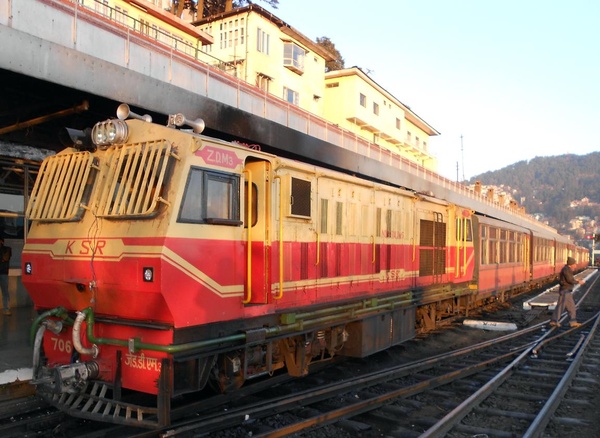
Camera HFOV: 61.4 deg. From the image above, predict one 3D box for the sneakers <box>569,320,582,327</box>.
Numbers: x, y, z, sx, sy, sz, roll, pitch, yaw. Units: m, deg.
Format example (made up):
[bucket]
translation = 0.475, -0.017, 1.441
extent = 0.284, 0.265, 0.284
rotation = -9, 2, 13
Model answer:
[sneakers]
translation = 9.830, 3.730, 17.948
extent = 0.456, 0.223, 0.147
rotation = -2, 2, -43

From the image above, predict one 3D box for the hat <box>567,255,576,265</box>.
[hat]
translation = 9.636, 1.486, 17.844
extent = 0.360, 0.216, 0.526
rotation = -5, -4, 35
